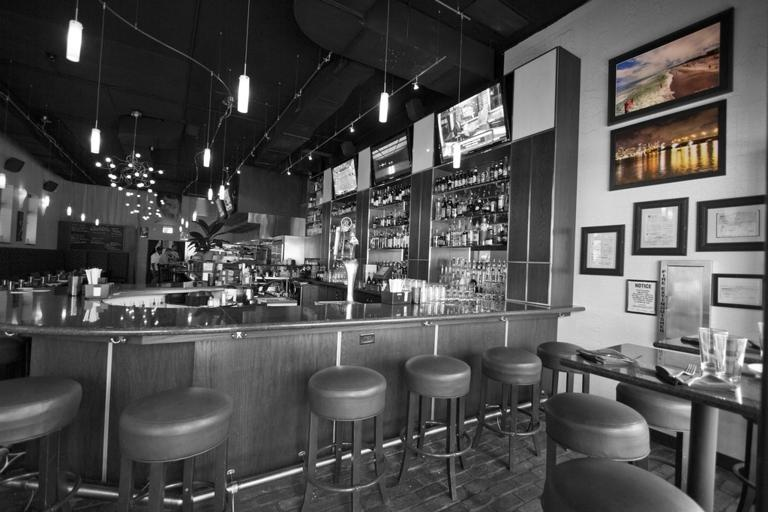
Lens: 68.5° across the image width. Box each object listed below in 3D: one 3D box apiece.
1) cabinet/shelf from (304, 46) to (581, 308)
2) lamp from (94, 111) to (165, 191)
[{"bbox_3d":[1.570,-1.105,7.874,2.446,3.289,0.724,8,9,43],"label":"cabinet/shelf"},{"bbox_3d":[-5.599,-2.388,12.458,1.366,1.568,1.377,7,4,-19],"label":"lamp"}]
